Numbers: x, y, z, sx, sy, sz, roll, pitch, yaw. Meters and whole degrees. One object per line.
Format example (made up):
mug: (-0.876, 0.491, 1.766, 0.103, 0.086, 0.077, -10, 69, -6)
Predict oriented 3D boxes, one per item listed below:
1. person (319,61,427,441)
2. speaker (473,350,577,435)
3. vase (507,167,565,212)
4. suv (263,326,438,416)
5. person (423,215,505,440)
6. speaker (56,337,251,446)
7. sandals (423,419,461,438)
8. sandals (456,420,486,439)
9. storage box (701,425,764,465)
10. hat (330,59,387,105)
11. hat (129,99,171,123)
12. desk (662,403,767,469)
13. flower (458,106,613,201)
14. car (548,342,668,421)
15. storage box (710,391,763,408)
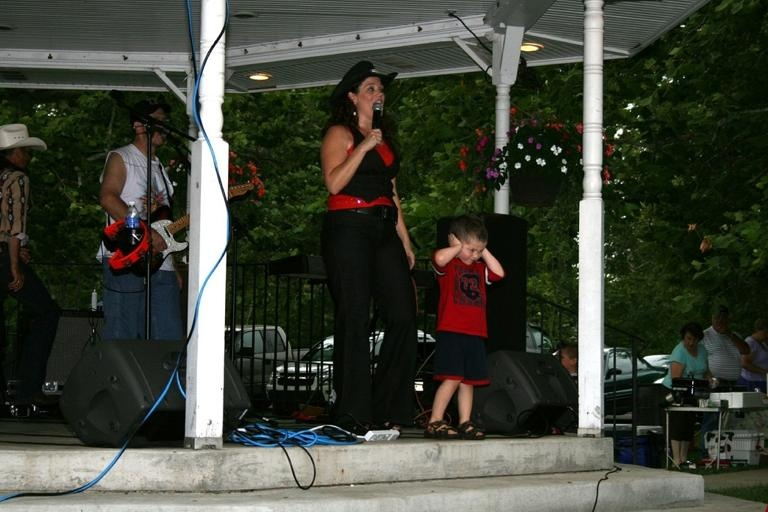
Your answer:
person: (-0.135, -0.113, 12.855, 0.897, 3.455, 0.521, 0, -3, -6)
speaker: (1.382, 1.330, 13.570, 0.972, 0.790, 0.962, 3, -6, -44)
vase: (1.634, -0.680, 14.639, 0.459, 0.301, 0.459, -3, -10, 24)
suv: (-0.704, 1.359, 16.303, 1.056, 0.920, 2.181, -7, -14, 44)
person: (0.783, 0.652, 13.046, 0.559, 2.089, 0.701, -2, -4, 25)
speaker: (-2.166, 1.220, 12.166, 1.207, 0.807, 1.105, 8, -9, -44)
sandals: (0.542, 1.617, 12.799, 0.282, 0.124, 0.138, -3, -9, 19)
sandals: (0.826, 1.620, 12.746, 0.248, 0.108, 0.128, -3, -14, 13)
storage box: (4.172, 2.235, 16.175, 0.607, 0.339, 0.413, -2, -7, 19)
hat: (-0.212, -1.707, 13.119, 0.654, 0.255, 0.517, -13, 1, 9)
hat: (-2.339, -1.430, 13.530, 0.401, 0.205, 0.287, -26, 5, -15)
desk: (3.637, 2.013, 15.877, 0.960, 0.694, 0.956, -6, -13, 37)
flower: (1.725, -1.075, 14.912, 1.566, 1.056, 1.208, 3, -7, -35)
car: (3.002, 1.747, 19.359, 2.195, 1.009, 1.210, 0, 6, -39)
storage box: (4.097, 1.650, 15.782, 0.399, 0.118, 0.289, 6, -7, -38)
